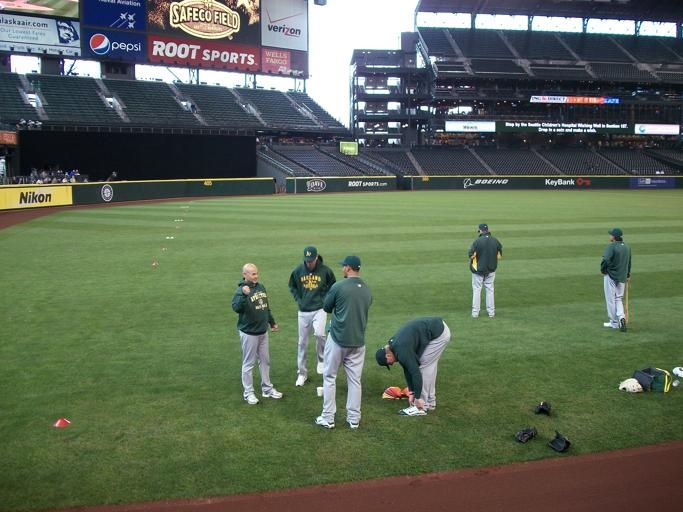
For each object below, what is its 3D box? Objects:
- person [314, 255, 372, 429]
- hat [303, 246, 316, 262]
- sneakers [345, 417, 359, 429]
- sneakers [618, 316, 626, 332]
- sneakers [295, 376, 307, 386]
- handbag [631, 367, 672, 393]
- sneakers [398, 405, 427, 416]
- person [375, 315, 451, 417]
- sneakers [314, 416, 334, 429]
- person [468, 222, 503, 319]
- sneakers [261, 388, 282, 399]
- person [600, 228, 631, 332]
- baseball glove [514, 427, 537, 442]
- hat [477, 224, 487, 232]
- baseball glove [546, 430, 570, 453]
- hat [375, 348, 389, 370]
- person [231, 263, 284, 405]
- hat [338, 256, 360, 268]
[{"bbox_3d":[0.035,1.242,9.583,0.814,2.483,0.370,-2,6,-1],"label":"person"},{"bbox_3d":[-0.482,-0.040,10.615,0.178,0.134,0.262,2,16,5],"label":"hat"},{"bbox_3d":[0.175,2.416,9.596,0.090,0.097,0.230,1,7,-3],"label":"sneakers"},{"bbox_3d":[5.549,1.334,13.086,0.112,0.284,0.162,1,7,24],"label":"sneakers"},{"bbox_3d":[-0.654,2.050,10.868,0.141,0.123,0.323,0,-3,4],"label":"sneakers"},{"bbox_3d":[5.003,1.995,10.657,0.398,0.249,0.474,0,-1,14],"label":"handbag"},{"bbox_3d":[1.074,2.326,9.994,0.412,0.185,0.153,2,0,0],"label":"sneakers"},{"bbox_3d":[1.084,1.656,9.769,1.045,1.474,0.469,-8,8,-40],"label":"person"},{"bbox_3d":[-0.245,2.396,9.691,0.296,0.134,0.128,15,16,35],"label":"sneakers"},{"bbox_3d":[3.109,0.282,14.287,0.625,1.956,0.998,-1,7,13],"label":"person"},{"bbox_3d":[-1.079,2.171,10.459,0.225,0.096,0.169,-1,8,5],"label":"sneakers"},{"bbox_3d":[5.468,0.467,13.207,0.485,1.953,0.556,1,7,26],"label":"person"},{"bbox_3d":[2.593,2.515,9.389,0.365,0.166,0.219,-6,7,-30],"label":"baseball glove"},{"bbox_3d":[3.005,-0.583,14.043,0.166,0.135,0.236,3,14,12],"label":"hat"},{"bbox_3d":[3.022,2.569,9.140,0.272,0.114,0.218,-24,32,-39],"label":"baseball glove"},{"bbox_3d":[0.606,1.476,9.665,0.171,0.318,0.333,-2,6,3],"label":"hat"},{"bbox_3d":[-1.333,1.167,10.451,0.673,2.145,0.985,-3,6,-9],"label":"person"},{"bbox_3d":[0.146,0.101,9.607,0.228,0.229,0.313,-3,6,-4],"label":"hat"}]
